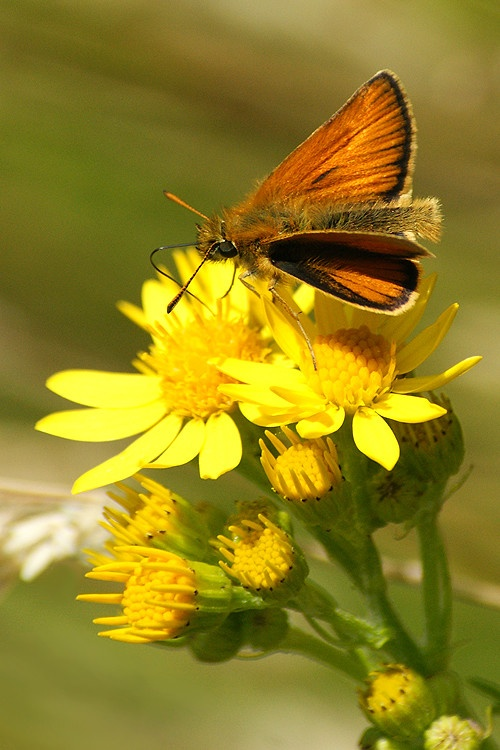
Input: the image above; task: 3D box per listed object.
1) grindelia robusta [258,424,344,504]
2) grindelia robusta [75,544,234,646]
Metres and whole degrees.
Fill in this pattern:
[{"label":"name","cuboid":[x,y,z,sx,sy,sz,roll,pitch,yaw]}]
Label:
[{"label":"grindelia robusta","cuboid":[0.089,0.146,1.247,0.133,0.104,0.080,13,-40,42]},{"label":"grindelia robusta","cuboid":[-0.161,0.359,1.290,0.212,0.164,0.121,16,2,41]}]
